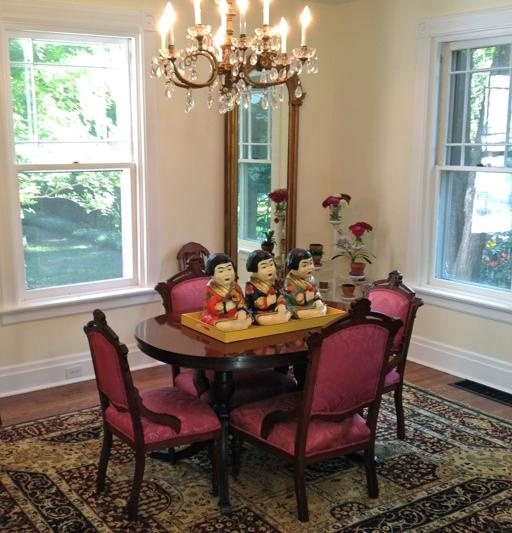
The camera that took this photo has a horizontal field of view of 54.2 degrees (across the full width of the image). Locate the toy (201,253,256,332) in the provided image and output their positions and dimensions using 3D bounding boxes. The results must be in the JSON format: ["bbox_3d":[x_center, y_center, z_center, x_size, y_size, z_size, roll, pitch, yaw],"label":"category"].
[{"bbox_3d":[-0.135,0.107,2.234,0.240,0.327,0.195,1,8,-1],"label":"toy"}]

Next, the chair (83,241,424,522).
[{"bbox_3d":[0.077,0.502,2.981,1.505,0.733,1.376,-3,4,-27],"label":"chair"}]

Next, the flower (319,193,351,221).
[{"bbox_3d":[0.675,-0.531,4.400,0.326,0.254,0.307,-1,0,-7],"label":"flower"}]
